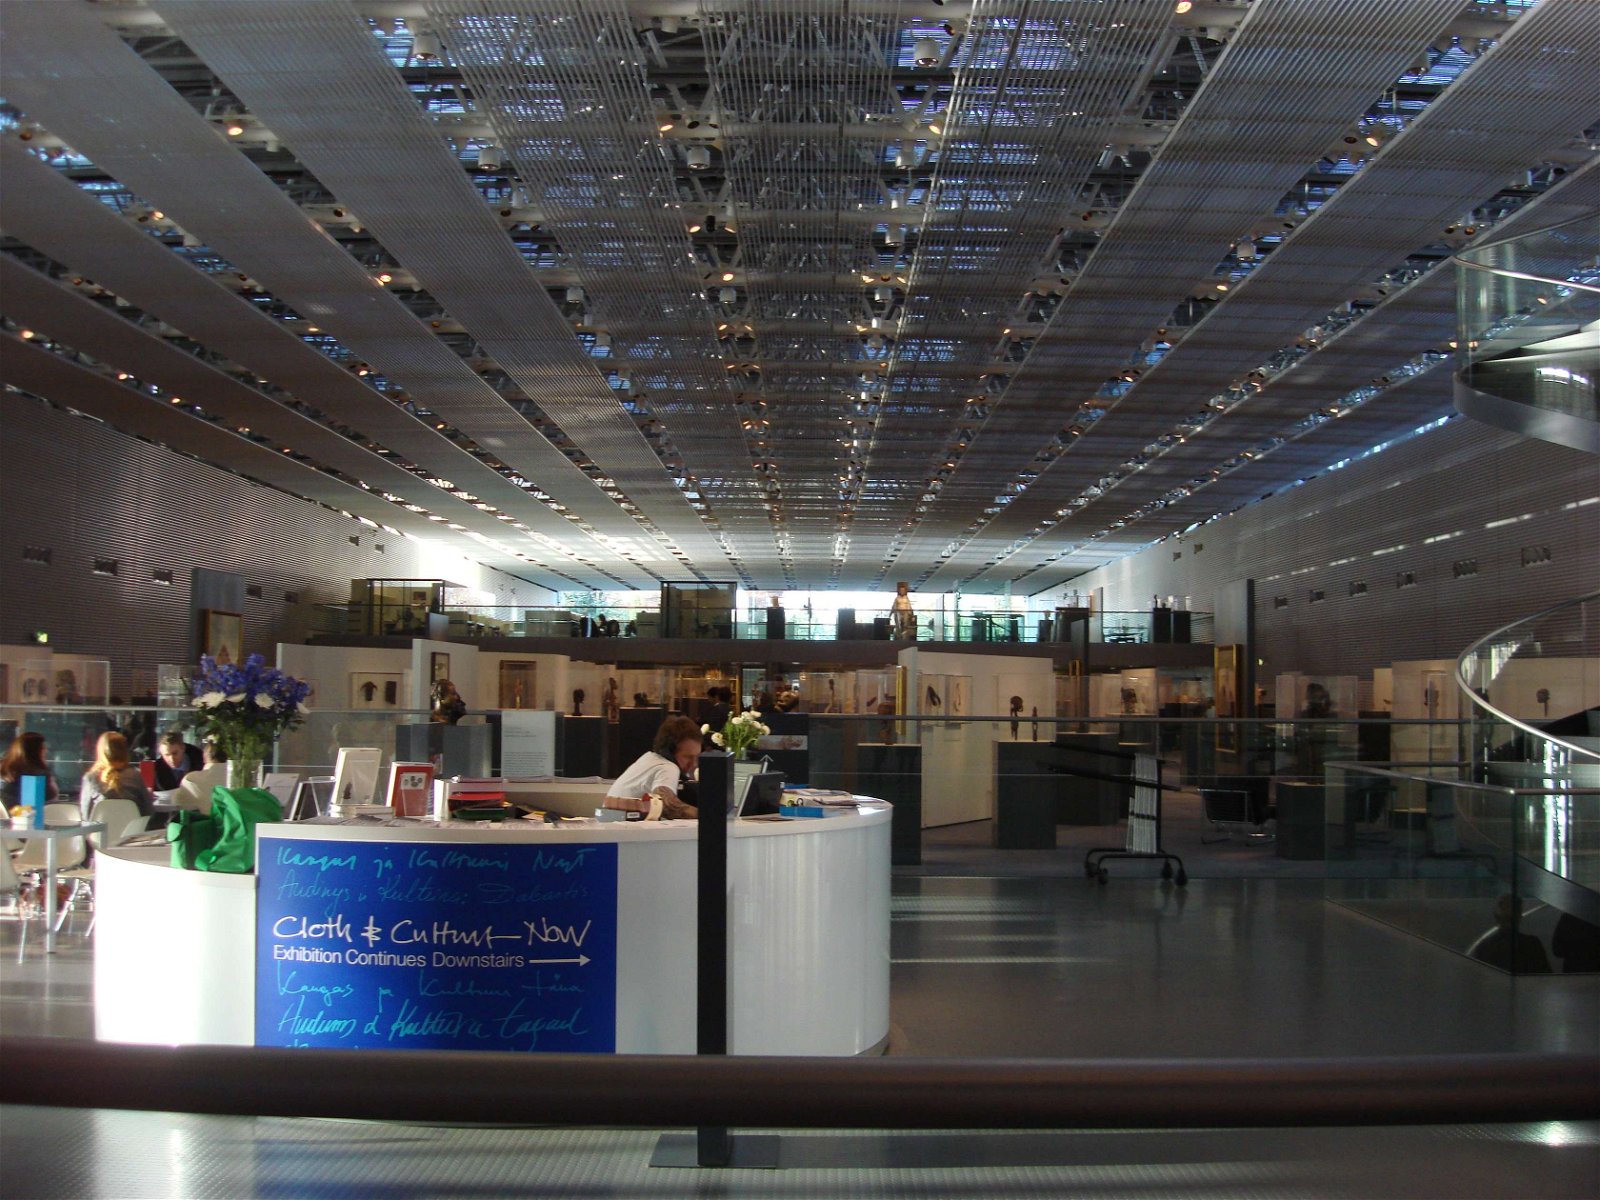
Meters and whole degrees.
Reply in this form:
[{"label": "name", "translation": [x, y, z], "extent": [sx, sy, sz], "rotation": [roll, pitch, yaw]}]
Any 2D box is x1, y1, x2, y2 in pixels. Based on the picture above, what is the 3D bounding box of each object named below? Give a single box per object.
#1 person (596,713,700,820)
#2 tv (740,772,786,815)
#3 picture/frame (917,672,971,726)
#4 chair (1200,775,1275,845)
[{"label": "person", "translation": [-0.773, 0.848, 6.132], "extent": [0.496, 0.510, 0.810], "rotation": [1, -5, -5]}, {"label": "tv", "translation": [-0.263, 0.999, 6.188], "extent": [0.250, 0.182, 0.318], "rotation": [2, -1, 26]}, {"label": "picture/frame", "translation": [2.254, 1.447, 18.864], "extent": [0.250, 0.583, 1.689], "rotation": [-3, -6, 29]}, {"label": "chair", "translation": [5.078, 2.417, 13.988], "extent": [0.726, 0.749, 1.289], "rotation": [-1, -4, 15]}]
